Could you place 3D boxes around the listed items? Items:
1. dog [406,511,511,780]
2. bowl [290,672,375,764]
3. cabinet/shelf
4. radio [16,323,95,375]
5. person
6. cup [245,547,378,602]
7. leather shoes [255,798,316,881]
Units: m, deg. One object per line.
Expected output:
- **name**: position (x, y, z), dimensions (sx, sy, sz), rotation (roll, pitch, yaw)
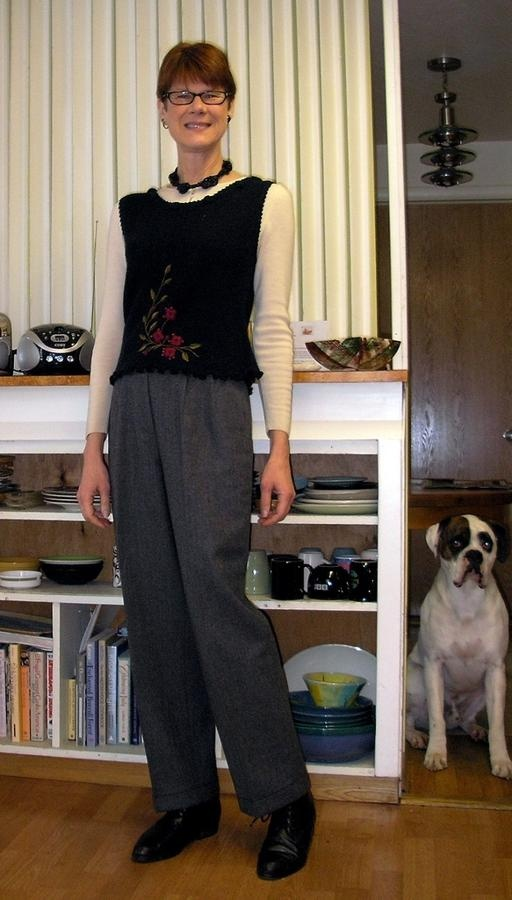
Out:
- **dog**: position (0.487, 0.450, 1.978), dimensions (0.240, 0.580, 0.388), rotation (-1, -2, 9)
- **bowl**: position (0.168, 0.590, 1.808), dimensions (0.180, 0.089, 0.206), rotation (0, -7, -2)
- **cabinet/shelf**: position (-0.101, 0.287, 1.586), dimensions (0.909, 0.870, 0.274), rotation (1, 3, 14)
- **radio**: position (-0.499, -0.225, 1.989), dimensions (0.162, 0.100, 0.161), rotation (0, 4, -17)
- **person**: position (-0.110, 0.020, 1.389), dimensions (0.396, 1.395, 0.260), rotation (-1, -2, 6)
- **cup**: position (0.118, 0.270, 1.774), dimensions (0.217, 0.081, 0.125), rotation (-1, -2, 8)
- **leather shoes**: position (0.053, 0.651, 1.362), dimensions (0.056, 0.065, 0.162), rotation (-1, 5, 18)
